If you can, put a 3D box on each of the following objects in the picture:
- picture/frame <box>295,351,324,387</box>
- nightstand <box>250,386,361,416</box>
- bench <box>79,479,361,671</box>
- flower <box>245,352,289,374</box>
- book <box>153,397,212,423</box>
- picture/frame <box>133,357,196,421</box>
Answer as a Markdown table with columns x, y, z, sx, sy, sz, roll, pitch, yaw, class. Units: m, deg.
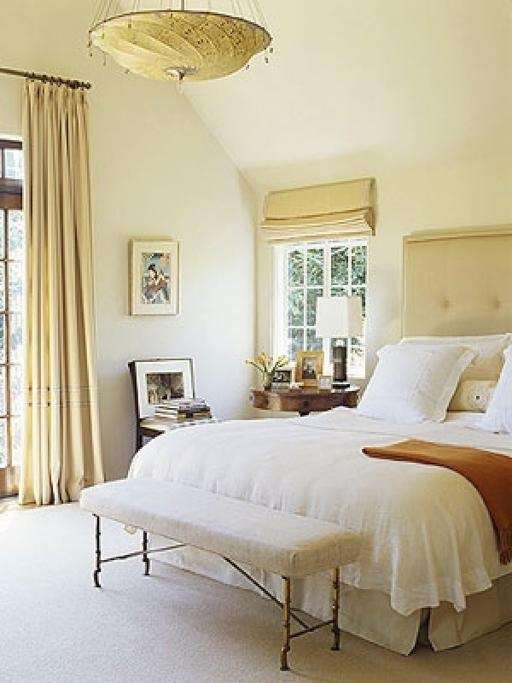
| x | y | z | sx | sy | sz | roll | pitch | yaw | class |
| --- | --- | --- | --- | --- | --- | --- | --- | --- | --- |
| 0.427 | 0.237 | 4.668 | 0.286 | 0.358 | 0.041 | 1 | -9 | 2 | picture/frame |
| 0.379 | 0.435 | 4.395 | 0.426 | 0.208 | 0.350 | -1 | 0 | 37 | nightstand |
| -0.131 | 0.789 | 2.063 | 0.471 | 0.457 | 1.155 | 3 | -5 | -41 | bench |
| 0.093 | 0.193 | 5.032 | 0.239 | 0.139 | 0.250 | 3 | -6 | -37 | flower |
| -0.498 | 0.496 | 4.167 | 0.222 | 0.076 | 0.220 | -1 | 4 | -39 | book |
| -0.698 | 0.371 | 4.312 | 0.512 | 0.416 | 0.052 | 1 | -15 | -38 | picture/frame |
